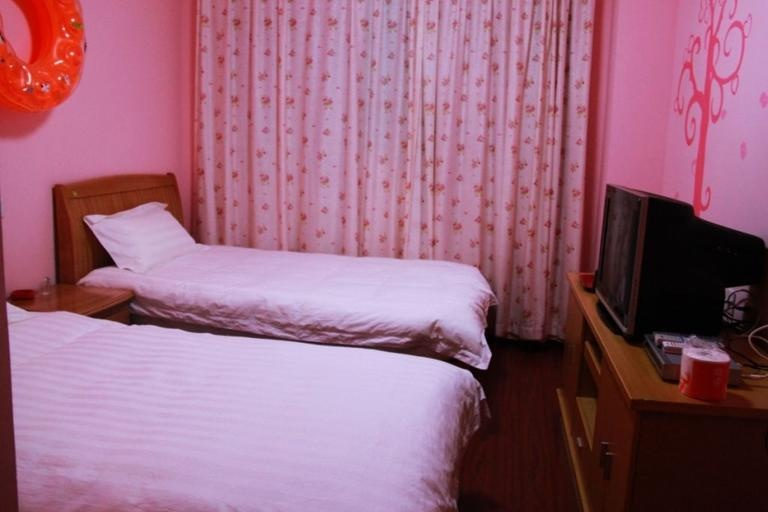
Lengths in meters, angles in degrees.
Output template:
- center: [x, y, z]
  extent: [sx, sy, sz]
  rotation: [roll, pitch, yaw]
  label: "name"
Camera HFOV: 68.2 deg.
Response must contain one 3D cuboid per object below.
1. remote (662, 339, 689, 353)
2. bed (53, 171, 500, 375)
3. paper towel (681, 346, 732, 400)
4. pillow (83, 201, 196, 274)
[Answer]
- center: [1.256, 0.391, 2.469]
  extent: [0.057, 0.015, 0.064]
  rotation: [4, 16, 22]
  label: "remote"
- center: [-0.716, 0.169, 4.049]
  extent: [2.512, 0.961, 1.566]
  rotation: [3, 11, 11]
  label: "bed"
- center: [1.315, 0.474, 2.328]
  extent: [0.177, 0.165, 0.203]
  rotation: [12, 25, 32]
  label: "paper towel"
- center: [-1.748, -0.161, 4.185]
  extent: [0.467, 0.455, 0.856]
  rotation: [6, 16, 23]
  label: "pillow"
